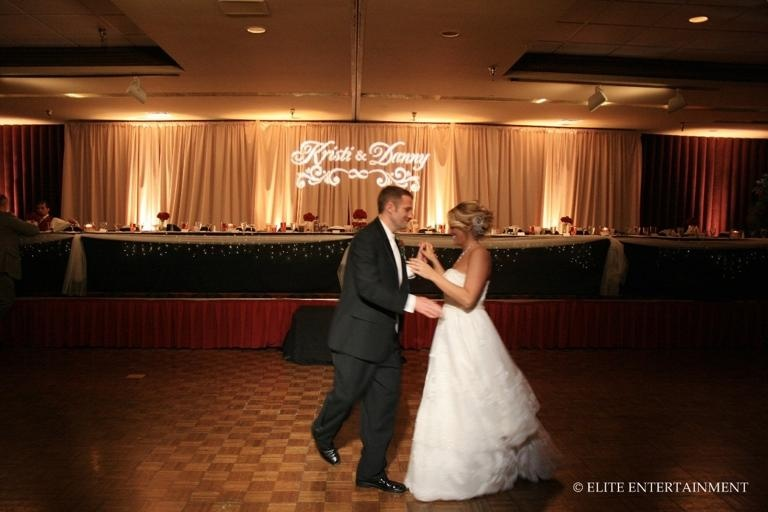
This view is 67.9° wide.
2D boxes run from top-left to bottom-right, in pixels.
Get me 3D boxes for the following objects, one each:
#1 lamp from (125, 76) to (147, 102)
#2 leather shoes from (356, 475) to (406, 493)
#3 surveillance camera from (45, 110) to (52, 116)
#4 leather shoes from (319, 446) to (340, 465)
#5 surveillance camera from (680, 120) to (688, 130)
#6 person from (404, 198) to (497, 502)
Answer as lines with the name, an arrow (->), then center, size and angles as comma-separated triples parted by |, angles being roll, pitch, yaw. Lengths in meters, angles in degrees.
lamp -> -3.901, -2.638, 9.002 | 0.202, 0.374, 0.823 | -4, 14, -19
leather shoes -> -0.018, 1.948, 4.957 | 0.480, 0.188, 0.155 | -2, -5, 7
surveillance camera -> -6.667, -2.855, 11.327 | 0.084, 0.023, 0.080 | 1, -17, -1
leather shoes -> -0.500, 1.801, 5.169 | 0.281, 0.120, 0.103 | 4, 0, 35
surveillance camera -> 6.223, -2.706, 11.872 | 0.149, 0.180, 0.873 | 8, 15, 26
person -> 0.606, 0.784, 4.867 | 0.807, 2.395, 0.862 | 1, 14, 3
